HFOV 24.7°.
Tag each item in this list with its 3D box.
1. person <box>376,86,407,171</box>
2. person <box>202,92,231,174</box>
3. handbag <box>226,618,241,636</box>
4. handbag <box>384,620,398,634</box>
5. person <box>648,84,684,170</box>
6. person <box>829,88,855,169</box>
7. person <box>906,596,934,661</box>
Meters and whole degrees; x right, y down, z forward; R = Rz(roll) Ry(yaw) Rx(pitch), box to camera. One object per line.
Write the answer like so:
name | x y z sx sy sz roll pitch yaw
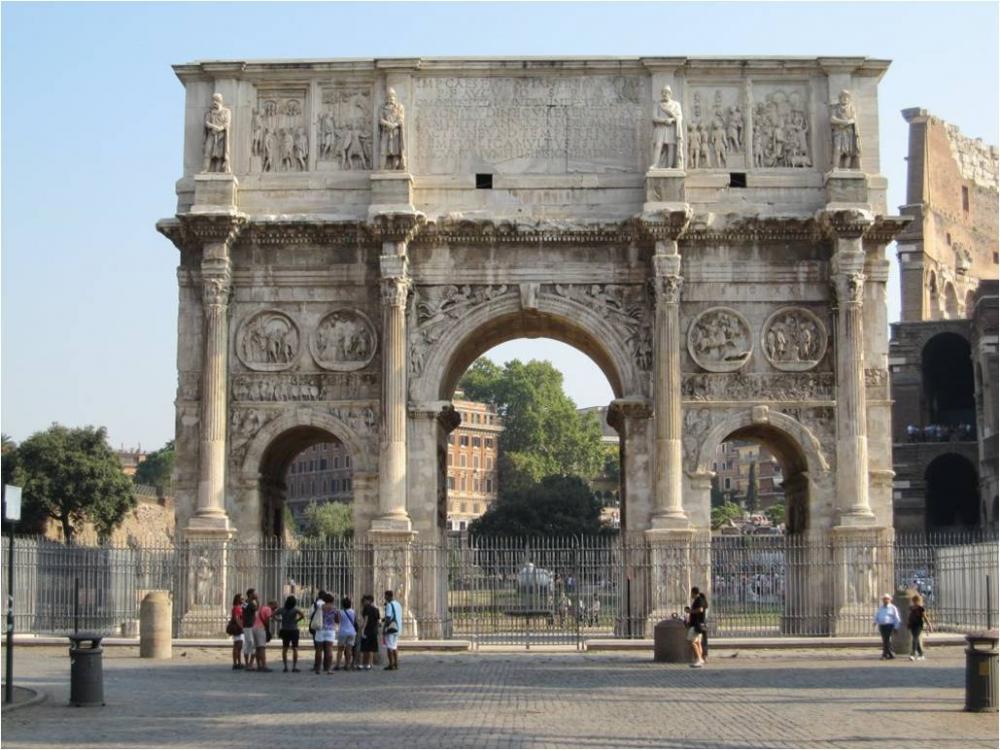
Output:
person | -3.384 -7.786 71.524 0.824 2.784 0.631 0 -9 -4
person | -8.905 -7.605 71.663 0.795 2.558 0.769 0 -9 -6
handbag | -7.422 7.035 63.622 0.431 0.487 0.454 -8 -8 41
handbag | -3.042 6.992 63.412 0.382 0.384 0.273 -2 -3 -25
person | 5.204 -7.749 71.317 0.940 2.778 0.462 -2 -9 4
person | 10.830 -7.749 71.518 0.860 2.595 0.453 -2 -9 7
person | 12.003 7.248 65.633 0.491 1.891 1.076 -3 -9 9
